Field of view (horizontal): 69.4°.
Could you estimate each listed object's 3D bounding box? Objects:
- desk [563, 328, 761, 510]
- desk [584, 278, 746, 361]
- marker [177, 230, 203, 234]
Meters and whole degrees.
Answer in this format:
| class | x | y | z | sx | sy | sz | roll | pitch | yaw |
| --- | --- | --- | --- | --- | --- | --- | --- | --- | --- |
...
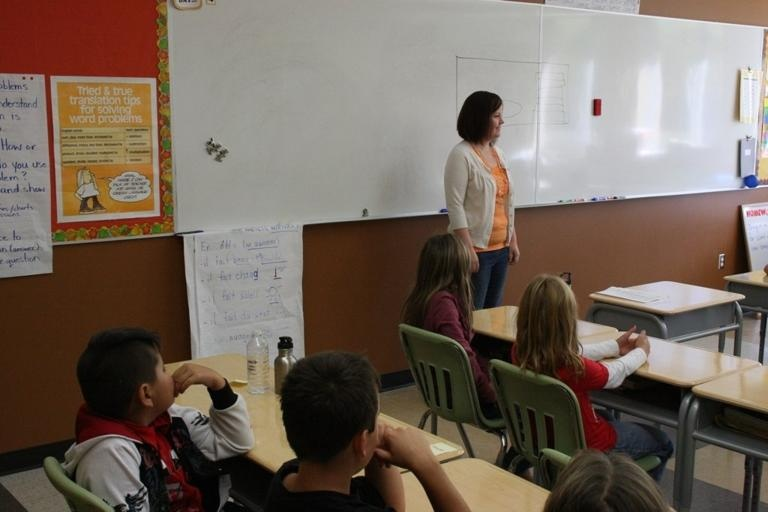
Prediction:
| class | x | y | z | sx | sy | sz | roll | pitch | yaw |
| --- | --- | --- | --- | --- | --- | --- | --- | --- | --- |
| desk | 1.356 | 0.567 | 2.724 | 0.663 | 0.647 | 0.827 | -8 | 13 | -39 |
| desk | 1.858 | 0.188 | 3.699 | 0.557 | 0.748 | 0.761 | -5 | 10 | -25 |
| marker | -1.232 | -0.152 | 3.517 | 0.120 | 0.025 | 0.014 | -4 | 38 | -15 |
